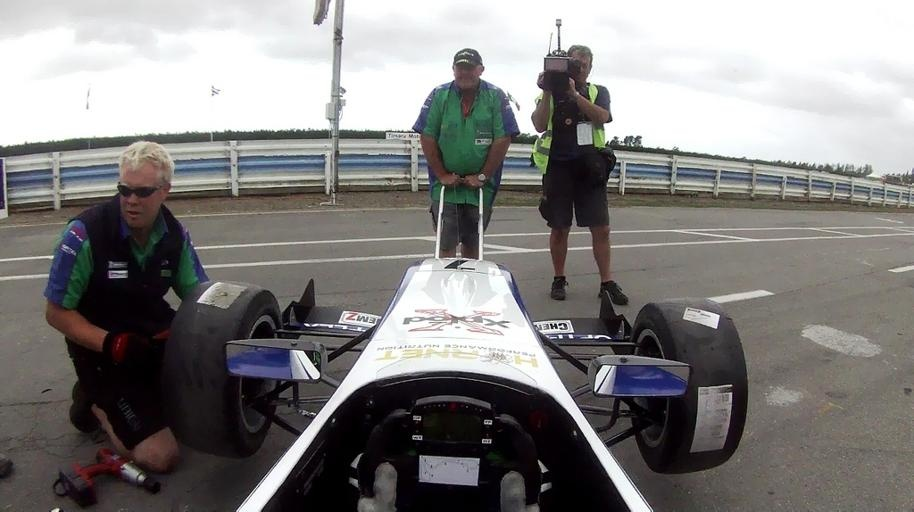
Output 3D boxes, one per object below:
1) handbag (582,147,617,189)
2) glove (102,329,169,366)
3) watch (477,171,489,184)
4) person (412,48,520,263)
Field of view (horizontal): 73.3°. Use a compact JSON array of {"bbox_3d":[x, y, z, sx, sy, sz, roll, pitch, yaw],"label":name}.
[{"bbox_3d":[1.647,-1.018,7.037,0.426,0.412,0.202,-7,14,-34],"label":"handbag"},{"bbox_3d":[-2.524,0.731,4.846,0.483,0.307,0.318,-10,15,-42],"label":"glove"},{"bbox_3d":[0.263,-0.817,6.427,0.106,0.099,0.024,7,-6,-25],"label":"watch"},{"bbox_3d":[0.083,-0.858,6.709,1.167,2.548,0.706,1,13,0],"label":"person"}]
